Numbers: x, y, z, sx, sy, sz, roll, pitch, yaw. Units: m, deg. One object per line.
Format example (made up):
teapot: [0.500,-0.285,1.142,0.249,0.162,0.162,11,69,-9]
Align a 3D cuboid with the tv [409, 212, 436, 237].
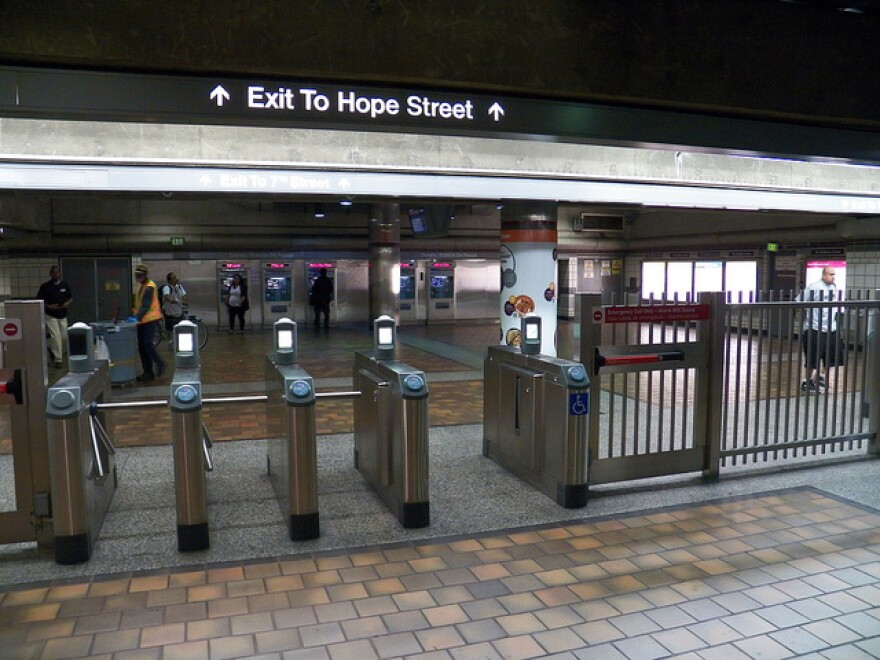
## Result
tv: [-0.365,-2.350,15.141,0.534,0.502,0.136,-4,16,17]

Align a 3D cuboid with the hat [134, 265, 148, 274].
hat: [-4.678,-0.899,10.709,0.159,0.245,0.516,-4,8,-25]
